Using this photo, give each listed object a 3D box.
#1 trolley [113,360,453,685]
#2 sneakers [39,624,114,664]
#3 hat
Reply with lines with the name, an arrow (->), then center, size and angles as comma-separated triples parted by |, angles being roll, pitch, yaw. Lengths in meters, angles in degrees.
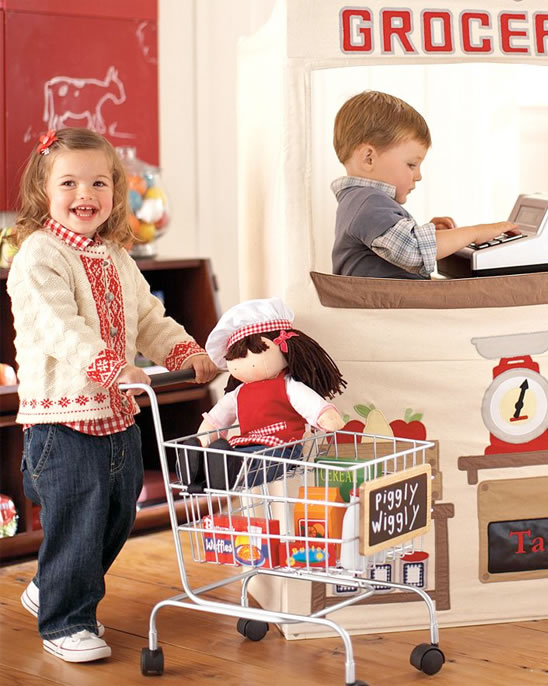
trolley -> 0.018, 0.326, 1.575 | 0.739, 0.713, 0.547 | -3, -2, 30
sneakers -> -0.394, 0.598, 1.461 | 0.149, 0.051, 0.056 | 2, 0, 26
hat -> -0.053, -0.028, 1.435 | 0.162, 0.050, 0.143 | -14, -26, -8
